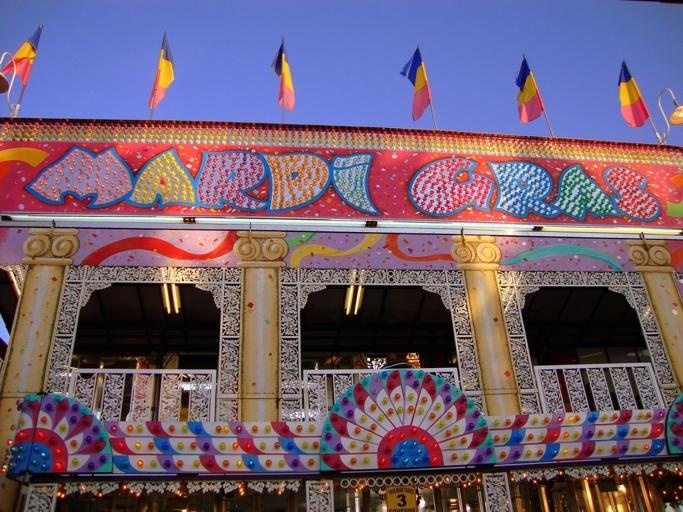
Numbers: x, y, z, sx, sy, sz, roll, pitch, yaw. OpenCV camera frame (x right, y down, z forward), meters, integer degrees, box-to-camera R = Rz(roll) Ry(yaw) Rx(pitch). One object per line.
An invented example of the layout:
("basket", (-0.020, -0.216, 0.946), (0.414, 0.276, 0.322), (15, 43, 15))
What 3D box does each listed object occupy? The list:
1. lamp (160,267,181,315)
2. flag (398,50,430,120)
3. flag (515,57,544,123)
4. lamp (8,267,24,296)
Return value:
("lamp", (-3.874, 0.946, 13.542), (0.384, 0.120, 1.054), (-5, -40, -16))
("flag", (1.765, -3.999, 14.251), (0.565, 2.175, 0.669), (-7, -24, 8))
("flag", (4.534, -4.039, 14.713), (0.561, 1.627, 0.508), (-14, -26, 23))
("lamp", (-6.389, 0.475, 11.716), (0.150, 0.651, 0.639), (-3, 3, -5))
